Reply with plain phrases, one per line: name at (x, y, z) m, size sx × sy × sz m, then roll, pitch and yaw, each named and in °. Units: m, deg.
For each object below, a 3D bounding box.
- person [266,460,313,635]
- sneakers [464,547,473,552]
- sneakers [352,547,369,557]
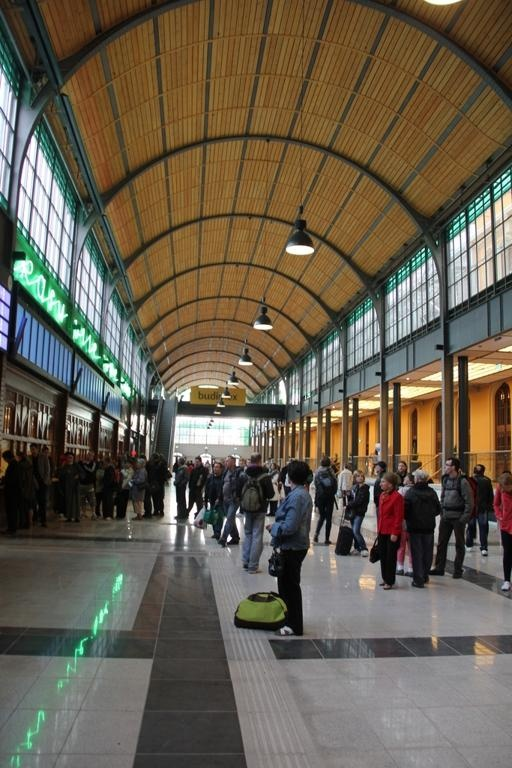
person at (0.342, 1.639, 4.870) m, size 0.415 × 1.700 × 0.594 m, roll 2°, pitch -8°, yaw 6°
sneakers at (5.171, 4.001, 11.474) m, size 0.137 × 0.164 × 0.274 m, roll -7°, pitch -14°, yaw 9°
sneakers at (2.385, 3.749, 10.609) m, size 0.449 × 0.230 × 0.161 m, roll 17°, pitch -21°, yaw -30°
